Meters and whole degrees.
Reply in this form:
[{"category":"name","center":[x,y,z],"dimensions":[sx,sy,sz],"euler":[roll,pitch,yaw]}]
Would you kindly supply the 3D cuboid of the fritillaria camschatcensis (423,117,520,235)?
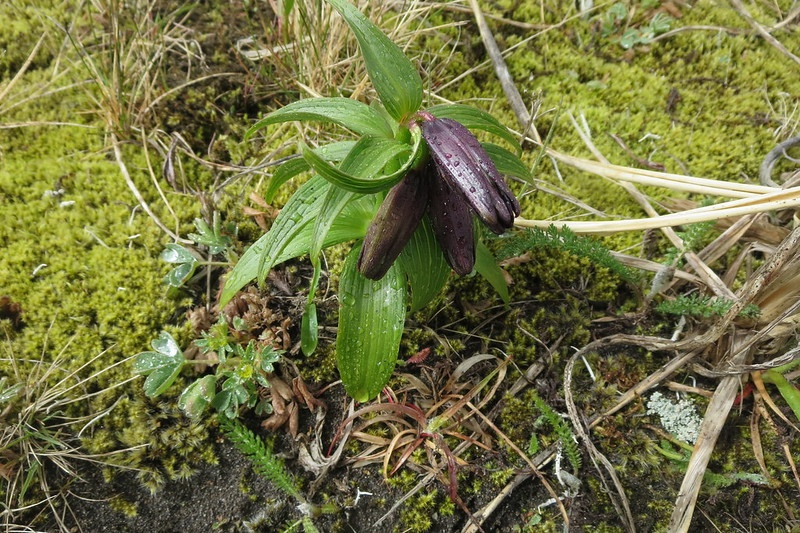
[{"category":"fritillaria camschatcensis","center":[0.365,-0.514,4.137],"dimensions":[0.299,0.262,0.834],"euler":[-24,77,-9]}]
